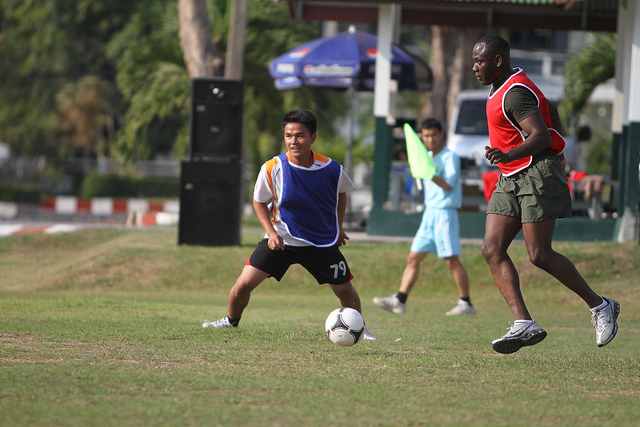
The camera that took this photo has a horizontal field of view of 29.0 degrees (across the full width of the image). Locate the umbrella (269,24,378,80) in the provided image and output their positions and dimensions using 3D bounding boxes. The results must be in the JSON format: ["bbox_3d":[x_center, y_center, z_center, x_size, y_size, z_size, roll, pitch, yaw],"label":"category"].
[{"bbox_3d":[0.265,-3.030,23.947,1.987,0.955,1.508,-9,18,-38],"label":"umbrella"}]

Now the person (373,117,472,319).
[{"bbox_3d":[1.432,-0.001,17.318,1.268,2.847,0.962,0,0,-33],"label":"person"}]

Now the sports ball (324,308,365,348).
[{"bbox_3d":[0.260,1.379,14.398,0.444,0.438,0.435,-8,-40,-6],"label":"sports ball"}]
